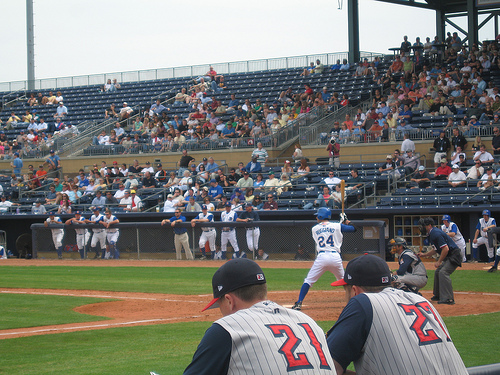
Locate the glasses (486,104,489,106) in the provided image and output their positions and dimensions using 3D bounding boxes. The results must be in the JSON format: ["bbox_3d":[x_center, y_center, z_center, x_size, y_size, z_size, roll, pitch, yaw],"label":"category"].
[{"bbox_3d":[9.773,-3.426,48.417,0.089,0.114,0.126,0,-5,8],"label":"glasses"}]

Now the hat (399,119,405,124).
[{"bbox_3d":[6.403,-2.851,49.407,0.147,0.213,0.207,15,-8,8],"label":"hat"}]

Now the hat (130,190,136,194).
[{"bbox_3d":[-4.847,0.135,48.984,0.163,0.130,0.281,2,-9,2],"label":"hat"}]

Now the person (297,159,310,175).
[{"bbox_3d":[2.239,-0.879,49.255,0.553,0.503,0.817,-2,-2,2],"label":"person"}]

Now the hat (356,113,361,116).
[{"bbox_3d":[4.704,-3.194,50.917,0.120,0.077,0.126,5,5,33],"label":"hat"}]

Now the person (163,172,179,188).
[{"bbox_3d":[-3.324,-0.378,50.027,0.549,0.677,0.894,-1,-2,-30],"label":"person"}]

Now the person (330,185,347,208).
[{"bbox_3d":[3.654,0.294,46.355,0.503,0.736,1.192,-4,22,19],"label":"person"}]

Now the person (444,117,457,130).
[{"bbox_3d":[8.272,-2.658,48.479,0.406,0.397,1.045,-3,26,21],"label":"person"}]

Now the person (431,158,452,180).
[{"bbox_3d":[7.696,-0.771,46.911,0.745,1.064,0.730,-2,-6,43],"label":"person"}]

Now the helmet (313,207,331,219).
[{"bbox_3d":[2.336,0.787,37.844,0.430,0.282,0.308,12,9,27],"label":"helmet"}]

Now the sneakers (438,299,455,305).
[{"bbox_3d":[6.406,3.666,38.330,0.506,0.243,0.181,3,0,7],"label":"sneakers"}]

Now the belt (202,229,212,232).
[{"bbox_3d":[-1.667,1.686,46.469,0.351,0.064,0.068,-2,-2,-2],"label":"belt"}]

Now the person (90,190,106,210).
[{"bbox_3d":[-6.397,0.468,49.772,0.527,0.791,0.828,0,-7,0],"label":"person"}]

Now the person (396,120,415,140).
[{"bbox_3d":[6.545,-2.417,49.466,0.805,1.031,0.284,-1,-8,21],"label":"person"}]

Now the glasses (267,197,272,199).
[{"bbox_3d":[0.821,0.382,47.202,0.180,0.096,0.427,-2,-2,1],"label":"glasses"}]

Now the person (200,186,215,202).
[{"bbox_3d":[-1.810,0.258,48.273,0.845,0.656,0.470,2,-7,23],"label":"person"}]

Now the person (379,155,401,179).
[{"bbox_3d":[5.667,-0.765,47.847,0.725,1.217,0.872,-6,7,26],"label":"person"}]

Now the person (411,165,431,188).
[{"bbox_3d":[6.804,-0.434,47.054,0.502,0.880,0.472,-19,-38,26],"label":"person"}]

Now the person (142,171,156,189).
[{"bbox_3d":[-4.320,-0.323,50.453,0.628,0.894,0.591,1,14,5],"label":"person"}]

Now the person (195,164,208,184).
[{"bbox_3d":[-2.032,-0.578,50.011,0.520,0.531,1.409,-7,20,-7],"label":"person"}]

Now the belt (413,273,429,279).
[{"bbox_3d":[5.398,2.762,37.111,0.264,0.117,0.204,8,-5,5],"label":"belt"}]

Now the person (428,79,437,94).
[{"bbox_3d":[7.928,-4.354,51.005,0.445,0.672,0.801,-2,-2,9],"label":"person"}]

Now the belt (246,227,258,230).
[{"bbox_3d":[0.122,1.561,45.871,0.497,0.084,0.147,-2,-2,-1],"label":"belt"}]

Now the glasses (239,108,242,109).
[{"bbox_3d":[-0.442,-3.721,54.801,0.128,0.102,0.136,-3,-4,6],"label":"glasses"}]

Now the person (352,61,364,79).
[{"bbox_3d":[5.233,-5.579,55.742,0.441,0.776,0.684,5,0,19],"label":"person"}]

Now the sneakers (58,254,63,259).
[{"bbox_3d":[-7.845,2.829,48.720,0.147,0.156,0.254,2,-3,-14],"label":"sneakers"}]

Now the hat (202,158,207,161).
[{"bbox_3d":[-1.940,-1.249,50.946,0.169,0.100,0.251,-1,6,-3],"label":"hat"}]

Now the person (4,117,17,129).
[{"bbox_3d":[-12.360,-3.355,60.885,0.474,0.483,0.766,-18,14,7],"label":"person"}]

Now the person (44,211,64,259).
[{"bbox_3d":[-8.015,1.999,48.863,0.786,1.796,0.666,-3,-1,25],"label":"person"}]

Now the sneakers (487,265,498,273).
[{"bbox_3d":[8.843,2.928,42.759,0.440,0.204,0.150,-1,11,-30],"label":"sneakers"}]

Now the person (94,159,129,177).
[{"bbox_3d":[-6.071,-0.783,52.325,1.089,0.630,0.847,8,8,44],"label":"person"}]

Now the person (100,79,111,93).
[{"bbox_3d":[-7.806,-5.503,63.603,0.378,0.977,0.539,0,-35,0],"label":"person"}]

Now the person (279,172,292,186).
[{"bbox_3d":[1.430,-0.342,48.428,0.675,0.679,0.457,0,-11,6],"label":"person"}]

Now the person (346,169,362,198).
[{"bbox_3d":[4.166,-0.162,47.130,0.601,1.132,0.650,-11,-6,-24],"label":"person"}]

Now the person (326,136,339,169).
[{"bbox_3d":[3.553,-1.468,49.733,0.485,0.990,1.265,-2,-2,4],"label":"person"}]

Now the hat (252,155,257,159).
[{"bbox_3d":[0.206,-1.331,49.896,0.229,0.222,0.593,-2,-2,0],"label":"hat"}]
